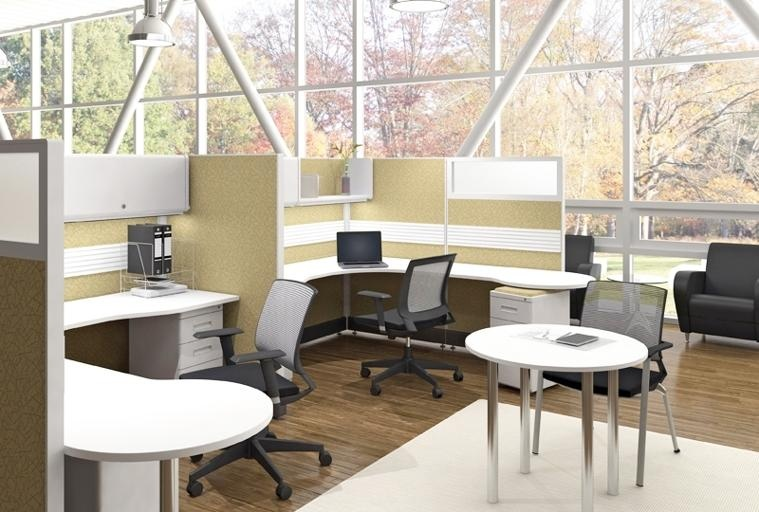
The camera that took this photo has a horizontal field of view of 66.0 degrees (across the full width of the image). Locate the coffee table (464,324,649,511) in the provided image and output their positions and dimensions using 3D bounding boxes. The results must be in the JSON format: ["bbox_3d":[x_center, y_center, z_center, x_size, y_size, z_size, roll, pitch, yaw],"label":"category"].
[{"bbox_3d":[1.066,0.894,3.747,1.274,1.017,1.090,1,2,35],"label":"coffee table"}]

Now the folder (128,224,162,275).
[{"bbox_3d":[-1.985,-0.053,4.921,0.321,0.413,0.110,4,13,21],"label":"folder"}]

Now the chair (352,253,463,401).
[{"bbox_3d":[0.226,0.578,5.824,1.247,1.386,1.265,5,6,33],"label":"chair"}]

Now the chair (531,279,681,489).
[{"bbox_3d":[1.583,0.812,4.080,0.876,1.116,0.740,4,11,45],"label":"chair"}]

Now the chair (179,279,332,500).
[{"bbox_3d":[-0.873,0.853,3.944,0.942,1.222,1.090,-8,9,-29],"label":"chair"}]

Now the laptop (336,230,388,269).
[{"bbox_3d":[-0.206,-0.071,6.162,0.611,0.349,0.385,-1,10,-8],"label":"laptop"}]
